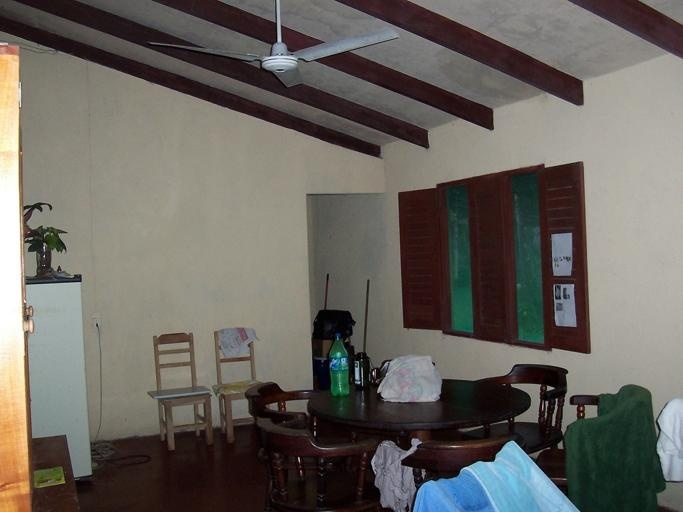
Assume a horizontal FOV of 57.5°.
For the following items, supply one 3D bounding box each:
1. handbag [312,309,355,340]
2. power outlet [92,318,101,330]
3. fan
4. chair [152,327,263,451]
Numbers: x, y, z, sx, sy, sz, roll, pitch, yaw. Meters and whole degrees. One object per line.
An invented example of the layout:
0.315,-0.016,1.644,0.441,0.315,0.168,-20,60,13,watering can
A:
-0.093,0.778,7.374,0.538,0.428,0.397,2,-37,4,handbag
-2.266,0.627,5.763,0.066,0.095,0.033,0,6,-14,power outlet
-0.293,-1.259,3.997,0.874,0.388,0.895,0,-3,9,fan
-1.284,1.208,5.796,0.958,0.960,0.739,-3,5,-16,chair
